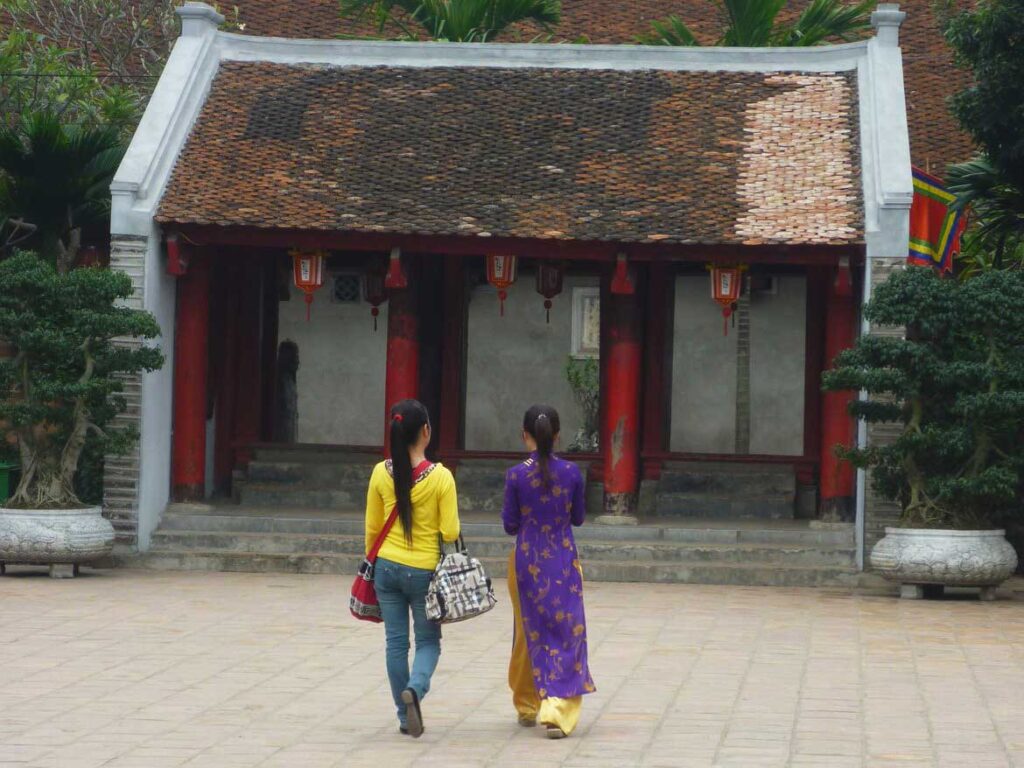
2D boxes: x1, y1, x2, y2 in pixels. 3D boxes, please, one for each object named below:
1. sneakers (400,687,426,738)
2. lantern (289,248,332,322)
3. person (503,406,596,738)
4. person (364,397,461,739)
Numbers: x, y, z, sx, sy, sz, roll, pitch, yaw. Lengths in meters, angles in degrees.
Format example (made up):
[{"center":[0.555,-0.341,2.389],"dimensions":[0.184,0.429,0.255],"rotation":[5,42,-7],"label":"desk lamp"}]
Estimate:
[{"center":[-0.726,2.430,13.105],"dimensions":[0.145,0.392,0.133],"rotation":[0,8,-3],"label":"sneakers"},{"center":[-2.224,-1.203,19.736],"dimensions":[0.350,0.574,0.313],"rotation":[-1,8,-6],"label":"lantern"},{"center":[0.287,1.399,13.519],"dimensions":[0.678,2.403,0.782],"rotation":[0,8,-1],"label":"person"},{"center":[-0.778,1.377,13.317],"dimensions":[0.688,2.463,0.717],"rotation":[3,8,22],"label":"person"}]
